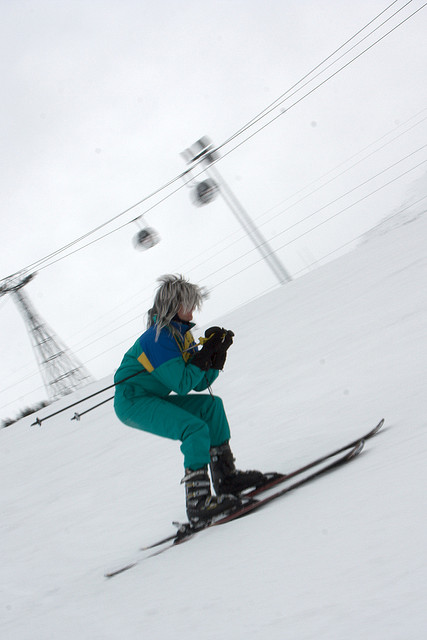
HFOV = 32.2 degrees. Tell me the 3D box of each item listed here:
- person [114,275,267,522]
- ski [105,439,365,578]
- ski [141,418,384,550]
[{"bbox_3d":[-0.224,0.530,5.392,0.976,1.821,0.434,-16,-13,-9],"label":"person"},{"bbox_3d":[0.201,1.394,5.376,2.501,0.124,0.239,-23,-33,-20],"label":"ski"},{"bbox_3d":[0.401,1.216,5.402,2.426,0.182,0.222,-22,-33,-21],"label":"ski"}]
